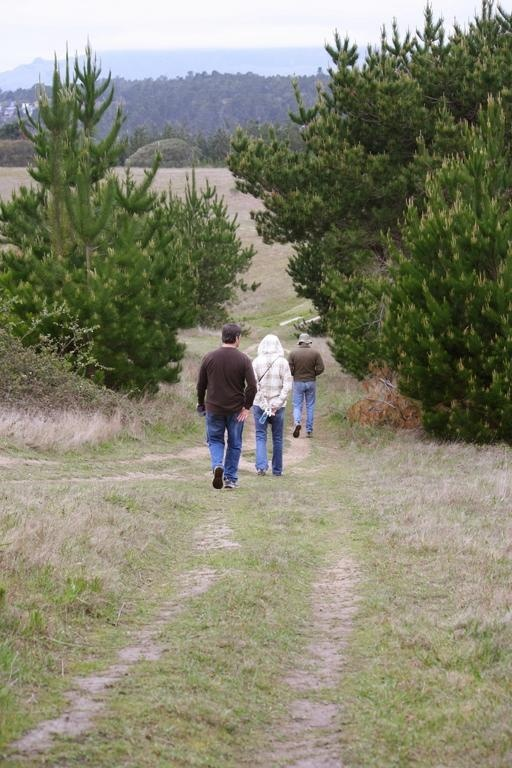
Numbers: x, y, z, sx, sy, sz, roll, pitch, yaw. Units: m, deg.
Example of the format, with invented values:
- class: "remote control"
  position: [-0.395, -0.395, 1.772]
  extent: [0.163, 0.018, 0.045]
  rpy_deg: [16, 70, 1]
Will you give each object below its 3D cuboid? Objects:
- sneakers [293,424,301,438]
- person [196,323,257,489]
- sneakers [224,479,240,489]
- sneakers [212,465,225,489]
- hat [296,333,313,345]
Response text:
- class: "sneakers"
  position: [0.708, 0.780, 14.253]
  extent: [0.095, 0.260, 0.103]
  rpy_deg: [7, 3, -7]
- class: "person"
  position: [-0.357, 0.270, 9.473]
  extent: [0.651, 1.925, 0.741]
  rpy_deg: [9, 5, 1]
- class: "sneakers"
  position: [-0.281, 1.155, 9.903]
  extent: [0.067, 0.085, 0.190]
  rpy_deg: [4, 8, 16]
- class: "sneakers"
  position: [-0.409, 1.045, 9.407]
  extent: [0.113, 0.286, 0.121]
  rpy_deg: [2, 5, -5]
- class: "hat"
  position: [0.842, -0.772, 14.292]
  extent: [0.237, 0.130, 0.194]
  rpy_deg: [-2, 1, 3]
